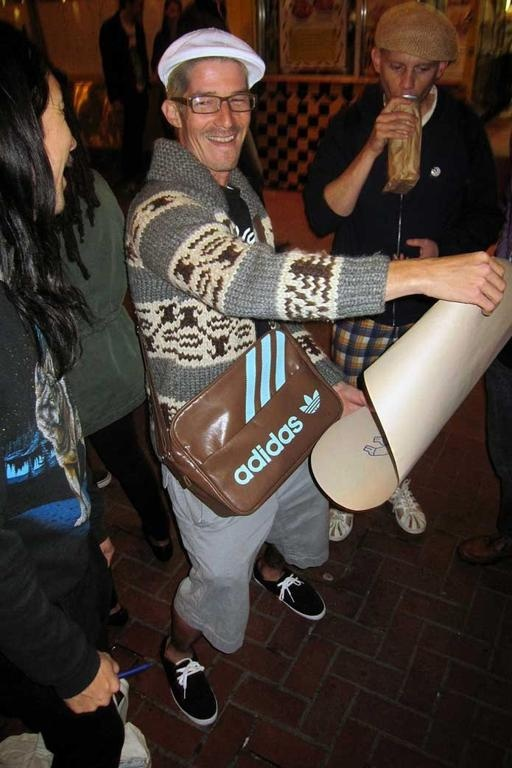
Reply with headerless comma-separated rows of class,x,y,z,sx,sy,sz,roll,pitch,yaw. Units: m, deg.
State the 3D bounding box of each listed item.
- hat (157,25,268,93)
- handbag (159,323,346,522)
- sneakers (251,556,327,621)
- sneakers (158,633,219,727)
hat,-0.161,-0.959,1.766,0.249,0.101,0.241,-7,3,-44
handbag,0.026,0.083,1.809,0.606,0.454,0.196,-41,22,-20
sneakers,0.137,0.976,2.928,0.425,0.125,0.158,29,67,40
sneakers,-0.291,1.215,2.487,0.128,0.124,0.343,-14,40,-28
